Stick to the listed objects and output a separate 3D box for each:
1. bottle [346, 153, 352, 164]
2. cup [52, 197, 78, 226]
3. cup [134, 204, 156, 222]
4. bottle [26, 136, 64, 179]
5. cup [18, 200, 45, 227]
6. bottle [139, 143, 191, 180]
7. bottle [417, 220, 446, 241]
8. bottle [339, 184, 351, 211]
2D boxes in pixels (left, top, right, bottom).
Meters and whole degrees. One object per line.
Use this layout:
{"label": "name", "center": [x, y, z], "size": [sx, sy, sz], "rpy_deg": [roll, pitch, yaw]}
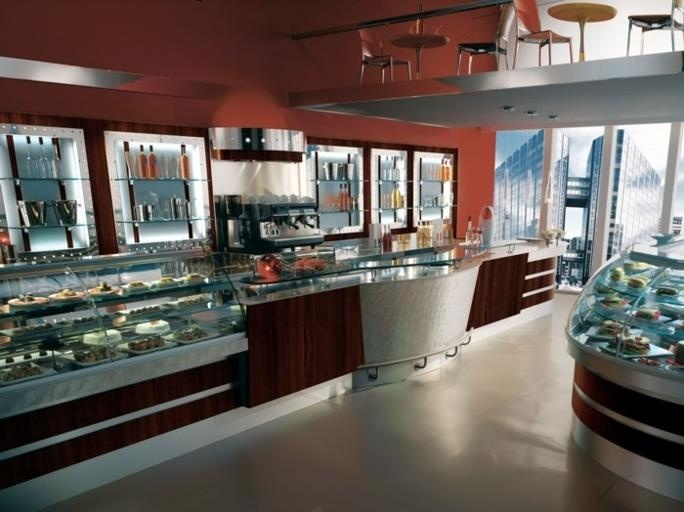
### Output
{"label": "bottle", "center": [0.118, -1.470, 6.975], "size": [0.083, 0.136, 0.034], "rpy_deg": [-14, 19, -41]}
{"label": "cup", "center": [-2.755, -0.448, 4.709], "size": [0.237, 0.239, 0.238], "rpy_deg": [-1, 11, 0]}
{"label": "cup", "center": [-2.165, -0.478, 5.163], "size": [0.218, 0.197, 0.148], "rpy_deg": [-2, 9, -28]}
{"label": "bottle", "center": [-2.936, -0.979, 4.640], "size": [0.297, 0.397, 0.146], "rpy_deg": [-8, 16, -26]}
{"label": "cup", "center": [-2.970, -0.413, 4.550], "size": [0.264, 0.246, 0.232], "rpy_deg": [1, 0, 16]}
{"label": "bottle", "center": [-2.004, -1.063, 5.280], "size": [0.440, 0.307, 0.083], "rpy_deg": [-9, 12, -44]}
{"label": "bottle", "center": [1.394, -0.411, 7.304], "size": [0.380, 0.339, 0.204], "rpy_deg": [-9, 15, -43]}
{"label": "bottle", "center": [0.071, -0.887, 6.922], "size": [0.253, 0.393, 0.110], "rpy_deg": [-13, 18, -39]}
